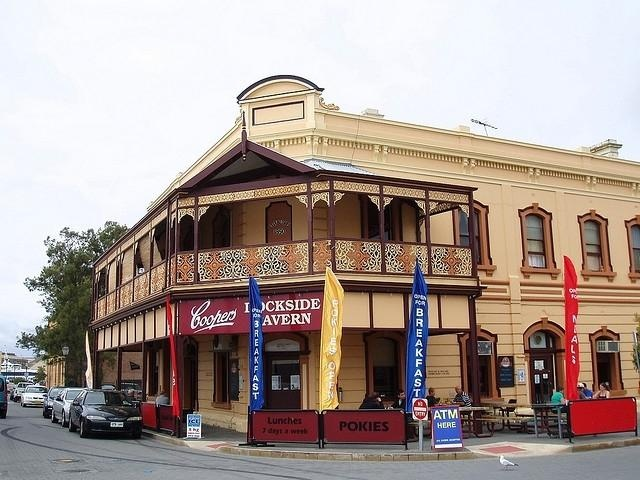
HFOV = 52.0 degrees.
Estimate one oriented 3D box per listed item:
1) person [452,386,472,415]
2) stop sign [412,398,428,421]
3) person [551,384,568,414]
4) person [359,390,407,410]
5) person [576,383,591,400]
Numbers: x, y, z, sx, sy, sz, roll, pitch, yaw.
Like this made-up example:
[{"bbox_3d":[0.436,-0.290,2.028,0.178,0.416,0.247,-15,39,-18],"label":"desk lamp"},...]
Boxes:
[{"bbox_3d":[4.899,5.593,22.636,0.644,1.000,1.833,-3,-18,11],"label":"person"},{"bbox_3d":[2.855,4.889,18.868,0.404,0.634,0.447,-1,-16,3],"label":"stop sign"},{"bbox_3d":[7.944,5.338,21.890,0.467,0.984,3.457,-6,-19,19],"label":"person"},{"bbox_3d":[1.999,5.277,21.076,1.213,0.467,0.959,-1,-11,-7],"label":"person"},{"bbox_3d":[10.003,5.689,24.794,0.468,0.769,2.669,-6,-19,20],"label":"person"}]
